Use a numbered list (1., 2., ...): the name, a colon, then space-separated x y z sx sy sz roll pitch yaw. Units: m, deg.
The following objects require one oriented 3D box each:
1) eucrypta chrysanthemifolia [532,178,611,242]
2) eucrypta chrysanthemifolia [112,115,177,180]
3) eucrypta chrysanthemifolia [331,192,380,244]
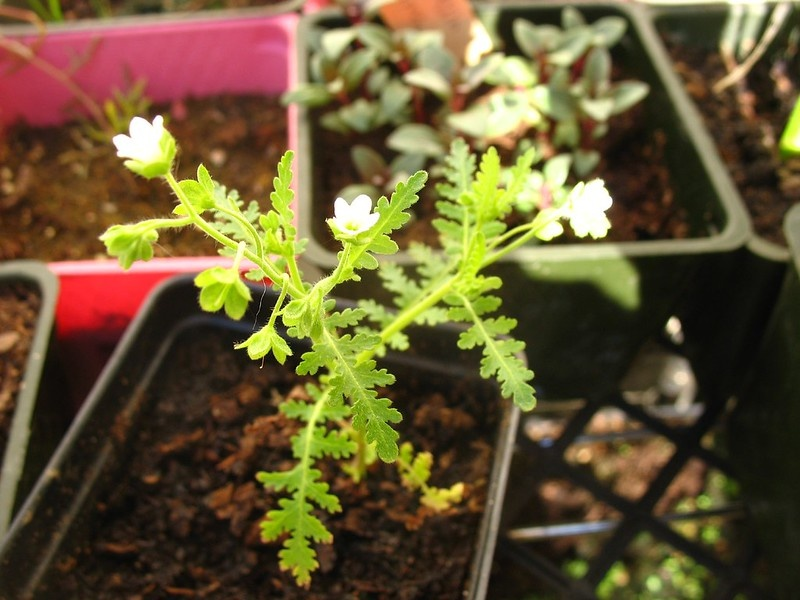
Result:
1. eucrypta chrysanthemifolia: 0.299 -0.156 1.258 0.119 0.106 0.097 23 45 22
2. eucrypta chrysanthemifolia: -0.399 -0.234 1.171 0.089 0.100 0.042 38 -1 -16
3. eucrypta chrysanthemifolia: -0.071 -0.143 1.195 0.074 0.073 0.126 5 41 3
